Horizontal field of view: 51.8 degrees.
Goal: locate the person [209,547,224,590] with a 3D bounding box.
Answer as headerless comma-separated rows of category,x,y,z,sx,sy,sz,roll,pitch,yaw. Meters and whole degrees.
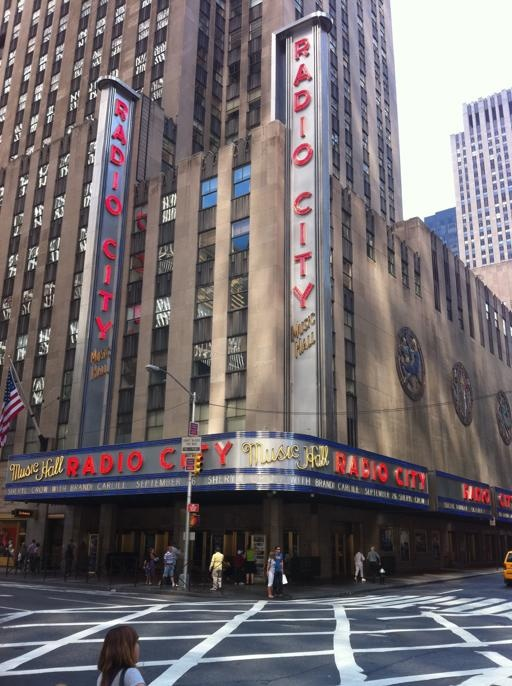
person,-1.965,11.294,26.191,0.536,1.883,1.498,1,-20,-6
